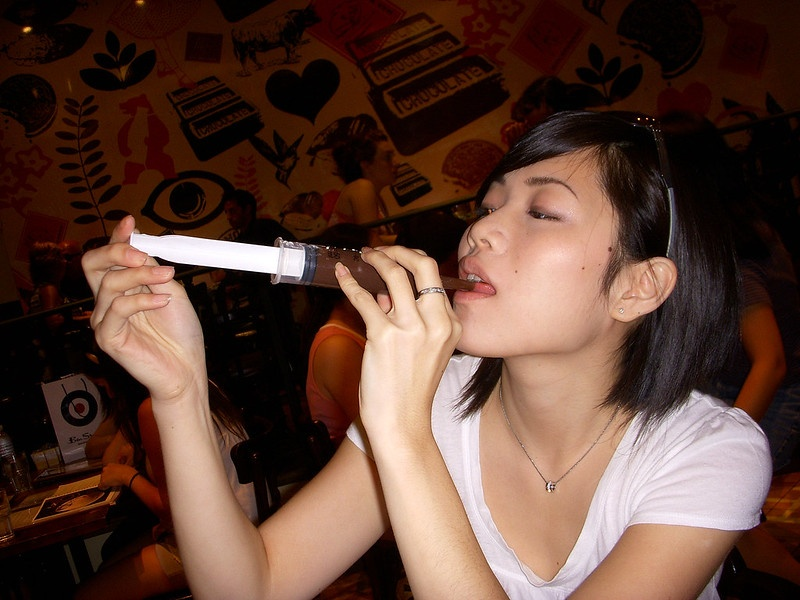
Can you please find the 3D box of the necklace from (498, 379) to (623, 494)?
[{"bbox_3d":[0.551,0.453,1.940,0.317,0.037,0.428,8,89,14],"label":"necklace"}]

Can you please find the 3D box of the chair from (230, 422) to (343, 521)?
[{"bbox_3d":[-0.570,0.759,2.703,0.288,0.394,0.307,-8,22,-24],"label":"chair"}]
